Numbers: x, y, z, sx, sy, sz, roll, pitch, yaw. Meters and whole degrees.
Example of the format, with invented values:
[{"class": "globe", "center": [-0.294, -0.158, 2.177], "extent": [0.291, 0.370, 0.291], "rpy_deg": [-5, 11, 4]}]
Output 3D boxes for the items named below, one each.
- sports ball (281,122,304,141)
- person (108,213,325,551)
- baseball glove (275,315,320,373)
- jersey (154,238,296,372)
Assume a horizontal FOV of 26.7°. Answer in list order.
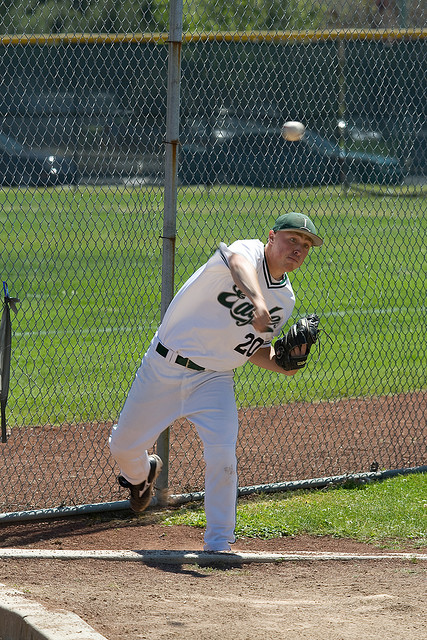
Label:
[{"class": "sports ball", "center": [0.558, -1.276, 6.214], "extent": [0.142, 0.106, 0.131], "rpy_deg": [-5, 25, 2]}, {"class": "person", "center": [-0.038, 0.330, 3.850], "extent": [0.882, 1.557, 0.796], "rpy_deg": [2, 8, 19]}, {"class": "baseball glove", "center": [0.370, 0.096, 3.912], "extent": [0.169, 0.234, 0.109], "rpy_deg": [32, 12, -25]}, {"class": "jersey", "center": [0.141, -0.037, 3.714], "extent": [0.551, 0.570, 0.857], "rpy_deg": [-4, 9, -25]}]
